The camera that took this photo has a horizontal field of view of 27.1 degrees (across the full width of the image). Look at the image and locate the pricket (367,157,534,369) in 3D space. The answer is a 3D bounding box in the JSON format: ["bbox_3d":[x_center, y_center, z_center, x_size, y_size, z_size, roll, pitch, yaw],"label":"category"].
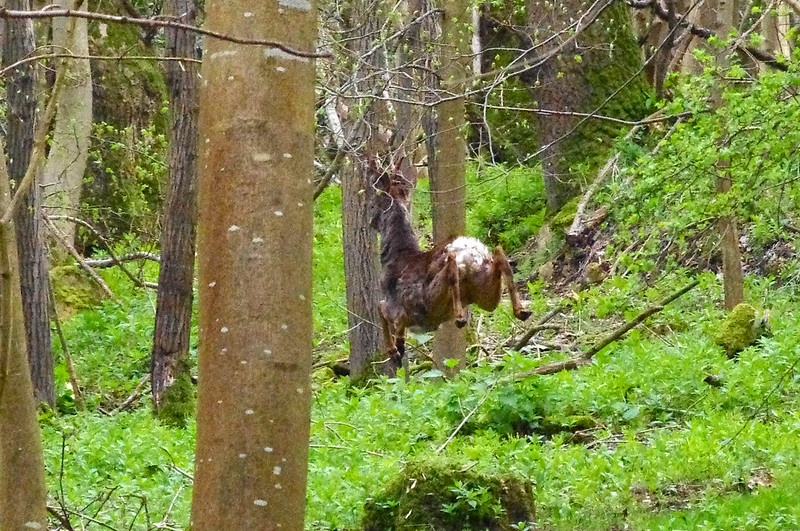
[{"bbox_3d":[0.411,-0.058,23.104,2.363,2.767,0.870,4,8,34],"label":"pricket"}]
